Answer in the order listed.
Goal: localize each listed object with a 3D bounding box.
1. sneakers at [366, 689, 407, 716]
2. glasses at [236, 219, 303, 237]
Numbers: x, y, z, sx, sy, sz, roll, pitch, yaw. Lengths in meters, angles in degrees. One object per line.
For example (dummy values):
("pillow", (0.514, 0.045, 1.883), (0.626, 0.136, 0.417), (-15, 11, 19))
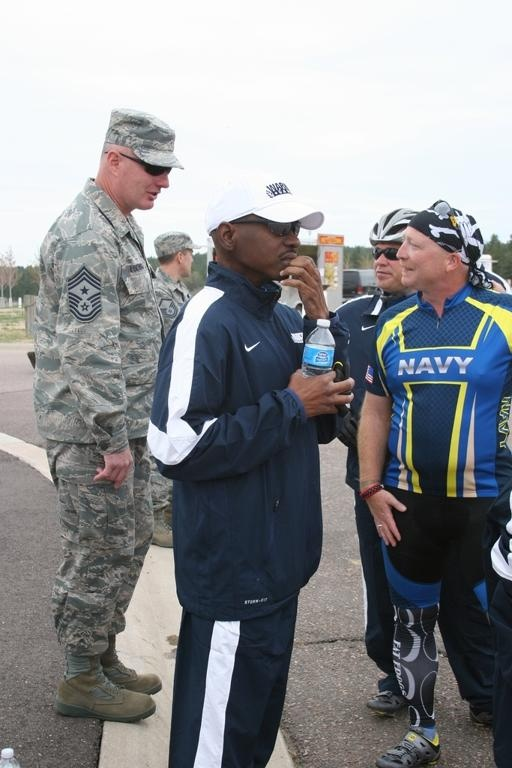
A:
("sneakers", (0.573, 1.373, 2.926), (0.077, 0.070, 0.184), (-15, -28, 38))
("glasses", (0.047, -0.455, 2.005), (0.139, 0.031, 0.104), (6, 12, 11))
